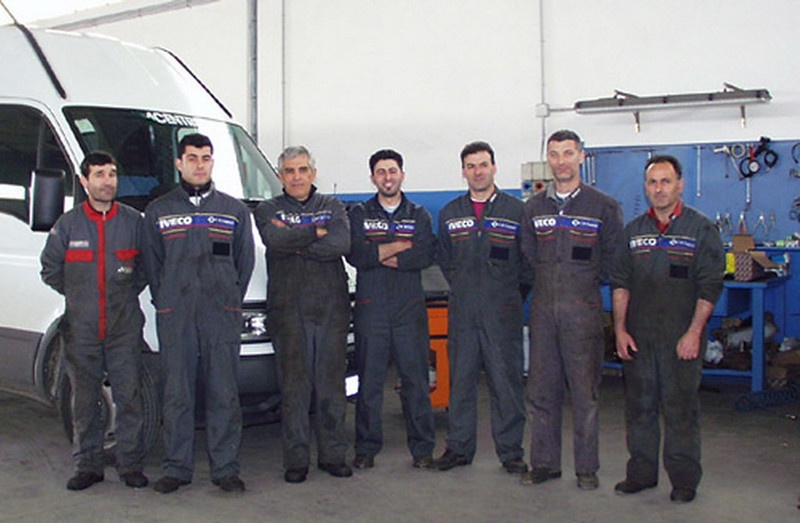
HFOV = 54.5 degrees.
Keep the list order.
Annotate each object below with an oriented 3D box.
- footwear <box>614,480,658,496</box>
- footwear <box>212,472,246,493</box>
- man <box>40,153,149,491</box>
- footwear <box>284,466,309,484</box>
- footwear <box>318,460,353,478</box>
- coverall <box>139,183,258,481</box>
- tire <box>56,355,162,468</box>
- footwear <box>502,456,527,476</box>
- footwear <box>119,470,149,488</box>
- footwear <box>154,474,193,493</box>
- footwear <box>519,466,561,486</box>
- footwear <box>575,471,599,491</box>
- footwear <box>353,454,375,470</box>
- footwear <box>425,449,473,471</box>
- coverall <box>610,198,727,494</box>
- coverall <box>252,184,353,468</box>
[{"bbox_3d":[1.781,1.686,5.840,0.308,0.114,0.107,3,-1,-17],"label":"footwear"},{"bbox_3d":[-1.347,1.702,5.998,0.289,0.108,0.112,-4,-3,34],"label":"footwear"},{"bbox_3d":[-2.334,0.451,5.976,0.727,2.552,0.539,-3,8,-15],"label":"man"},{"bbox_3d":[-0.808,1.670,6.127,0.208,0.105,0.159,-3,8,-20],"label":"footwear"},{"bbox_3d":[-0.520,1.648,6.214,0.255,0.101,0.114,0,1,27],"label":"footwear"},{"bbox_3d":[-1.526,0.546,6.012,0.814,2.260,0.497,-3,8,-16],"label":"coverall"},{"bbox_3d":[-2.304,1.224,6.036,1.000,0.881,0.283,7,9,15],"label":"tire"},{"bbox_3d":[0.935,1.649,6.243,0.105,0.115,0.181,-1,-6,-42],"label":"footwear"},{"bbox_3d":[-2.054,1.659,6.003,0.203,0.086,0.112,3,12,45],"label":"footwear"},{"bbox_3d":[-1.757,1.695,5.967,0.107,0.122,0.299,3,-6,43],"label":"footwear"},{"bbox_3d":[1.098,1.667,6.046,0.308,0.116,0.113,3,3,-19],"label":"footwear"},{"bbox_3d":[1.444,1.671,5.944,0.172,0.108,0.148,1,7,13],"label":"footwear"},{"bbox_3d":[-0.301,1.642,6.382,0.101,0.136,0.149,-3,-16,21],"label":"footwear"},{"bbox_3d":[0.411,1.631,6.427,0.380,0.156,0.132,2,1,-25],"label":"footwear"},{"bbox_3d":[1.995,0.632,5.829,0.774,2.099,0.490,2,8,19],"label":"coverall"},{"bbox_3d":[-0.759,0.546,6.238,0.731,2.126,0.512,-2,8,-11],"label":"coverall"}]
